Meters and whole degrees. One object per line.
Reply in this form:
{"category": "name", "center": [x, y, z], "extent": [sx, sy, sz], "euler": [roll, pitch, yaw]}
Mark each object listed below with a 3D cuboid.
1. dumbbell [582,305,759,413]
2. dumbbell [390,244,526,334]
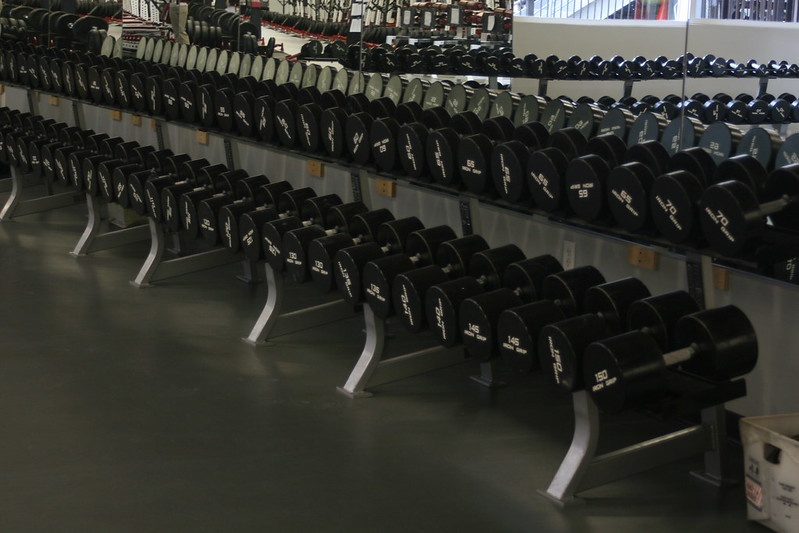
{"category": "dumbbell", "center": [0.901, 0.307, 2.226], "extent": [0.566, 0.325, 0.190], "euler": [-4, 17, -21]}
{"category": "dumbbell", "center": [0.249, 0.076, 2.787], "extent": [0.543, 0.246, 0.242], "euler": [-15, 13, -28]}
